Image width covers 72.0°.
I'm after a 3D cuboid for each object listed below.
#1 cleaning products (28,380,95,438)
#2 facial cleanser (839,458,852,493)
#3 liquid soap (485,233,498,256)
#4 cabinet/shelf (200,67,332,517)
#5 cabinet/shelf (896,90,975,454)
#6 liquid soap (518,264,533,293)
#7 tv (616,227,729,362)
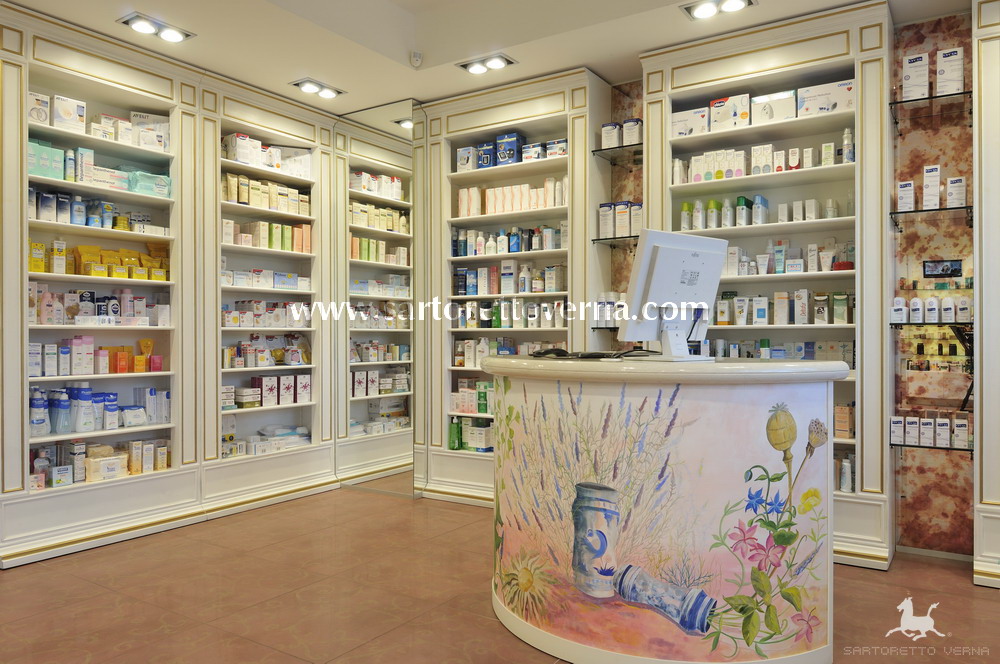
[{"bbox_3d":[-3.794,0.657,5.943,0.442,0.409,0.451,-3,5,-39],"label":"cleaning products"},{"bbox_3d":[2.857,1.171,5.652,0.106,0.238,0.155,3,7,25],"label":"facial cleanser"},{"bbox_3d":[-0.096,-0.911,7.152,0.122,0.214,0.313,-1,6,-3],"label":"liquid soap"},{"bbox_3d":[-2.437,-0.399,7.219,1.572,4.139,0.815,-5,8,-40],"label":"cabinet/shelf"},{"bbox_3d":[3.462,-0.490,5.515,0.668,2.770,0.684,3,7,28],"label":"cabinet/shelf"},{"bbox_3d":[0.259,-0.548,6.998,0.144,0.275,0.126,0,6,-2],"label":"liquid soap"},{"bbox_3d":[1.224,-0.268,4.820,0.799,0.870,0.252,-4,7,-29],"label":"tv"}]
